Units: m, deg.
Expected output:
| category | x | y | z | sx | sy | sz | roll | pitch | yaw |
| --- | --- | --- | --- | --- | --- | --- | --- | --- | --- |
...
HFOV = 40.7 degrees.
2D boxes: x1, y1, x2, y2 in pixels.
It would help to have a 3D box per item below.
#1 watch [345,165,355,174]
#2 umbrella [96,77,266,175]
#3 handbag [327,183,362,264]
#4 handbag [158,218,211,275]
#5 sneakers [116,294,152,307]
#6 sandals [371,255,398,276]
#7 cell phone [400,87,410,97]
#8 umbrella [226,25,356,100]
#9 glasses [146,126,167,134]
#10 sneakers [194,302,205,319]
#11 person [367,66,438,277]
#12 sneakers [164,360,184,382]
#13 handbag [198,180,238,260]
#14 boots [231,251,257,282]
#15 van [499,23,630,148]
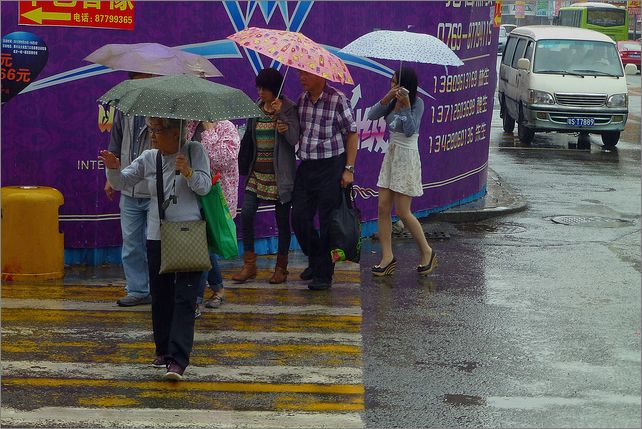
| category | x | y | z | sx | sy | sz | roll | pitch | yaw |
| --- | --- | --- | --- | --- | --- | --- | --- | --- | --- |
| watch | 0.340 | -0.558 | 10.681 | 0.087 | 0.051 | 0.087 | 24 | -16 | -8 |
| umbrella | -1.351 | -0.904 | 8.271 | 1.021 | 0.592 | 0.993 | 7 | 16 | -2 |
| handbag | 0.318 | 0.141 | 10.705 | 0.313 | 0.924 | 0.484 | 8 | 14 | 32 |
| handbag | -1.368 | 0.313 | 8.402 | 0.567 | 0.527 | 0.213 | -4 | 5 | -33 |
| sneakers | -2.209 | 1.013 | 10.193 | 0.412 | 0.175 | 0.159 | 3 | 5 | -18 |
| sandals | 0.838 | 0.707 | 11.430 | 0.410 | 0.158 | 0.156 | -6 | 4 | 16 |
| cell phone | 1.050 | -1.533 | 10.861 | 0.105 | 0.036 | 0.102 | 37 | 40 | -1 |
| umbrella | -0.333 | -1.846 | 10.050 | 1.354 | 0.608 | 0.737 | 1 | 12 | 2 |
| glasses | -1.583 | -0.813 | 8.324 | 0.218 | 0.062 | 0.211 | 1 | 4 | -43 |
| sneakers | -1.373 | 1.102 | 9.941 | 0.133 | 0.157 | 0.378 | 0 | -3 | 3 |
| person | 1.045 | -0.532 | 11.269 | 0.889 | 2.742 | 0.465 | 1 | 12 | 3 |
| sneakers | -1.445 | 1.523 | 8.454 | 0.171 | 0.245 | 0.214 | -2 | 12 | -10 |
| handbag | -1.068 | 0.051 | 8.739 | 0.317 | 0.829 | 0.713 | -18 | 16 | -1 |
| boots | -0.989 | 0.657 | 10.971 | 0.393 | 0.348 | 0.175 | -9 | 13 | -43 |
| van | 6.645 | -3.538 | 23.636 | 3.164 | 3.168 | 3.317 | 3 | 12 | 14 |
